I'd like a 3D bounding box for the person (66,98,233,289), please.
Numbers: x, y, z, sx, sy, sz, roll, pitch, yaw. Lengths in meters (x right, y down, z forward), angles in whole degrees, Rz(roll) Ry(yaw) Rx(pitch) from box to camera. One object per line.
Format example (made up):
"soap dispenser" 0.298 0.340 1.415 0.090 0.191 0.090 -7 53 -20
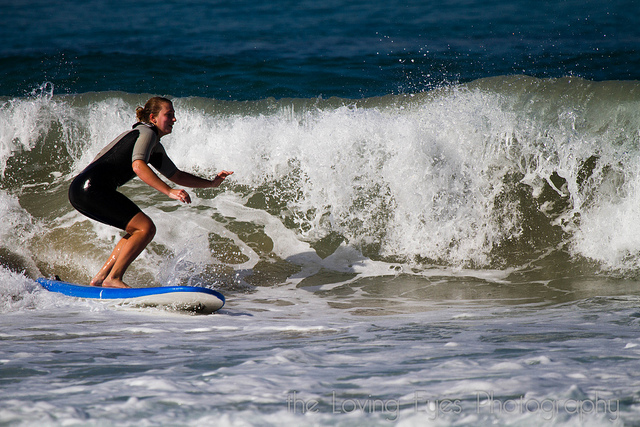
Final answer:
"person" -2.592 -0.285 13.062 1.717 2.019 0.758 6 -3 -6

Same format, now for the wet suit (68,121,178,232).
"wet suit" -2.865 -0.535 13.124 1.081 1.134 0.327 5 -4 12

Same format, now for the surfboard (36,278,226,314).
"surfboard" -2.431 1.164 13.049 2.760 0.569 1.139 -3 -3 16
